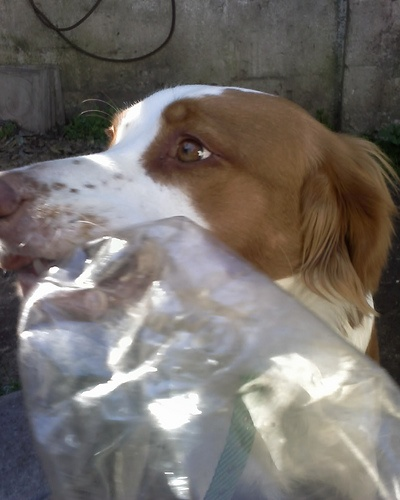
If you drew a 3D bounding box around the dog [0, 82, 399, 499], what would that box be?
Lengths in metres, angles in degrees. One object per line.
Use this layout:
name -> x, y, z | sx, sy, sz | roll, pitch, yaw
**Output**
dog -> 0.070, 0.048, 2.279 | 1.028, 0.985, 1.324 | 7, 27, 9
